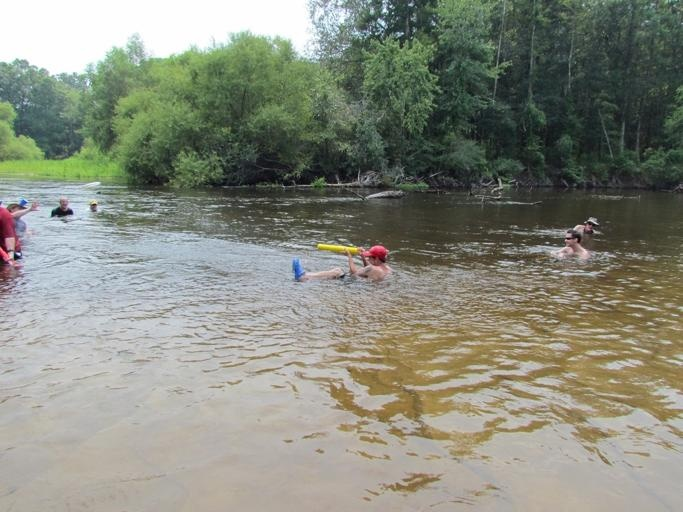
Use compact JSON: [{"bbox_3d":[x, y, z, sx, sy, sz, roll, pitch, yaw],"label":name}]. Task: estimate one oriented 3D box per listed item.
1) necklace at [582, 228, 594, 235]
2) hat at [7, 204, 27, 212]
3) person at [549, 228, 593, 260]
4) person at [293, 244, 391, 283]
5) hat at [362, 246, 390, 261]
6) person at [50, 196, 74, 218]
[{"bbox_3d":[8.778,-0.877,21.350,0.337,0.148,0.428,6,6,16],"label":"necklace"},{"bbox_3d":[-9.946,-1.470,18.211,0.445,0.186,0.295,-3,17,-21],"label":"hat"},{"bbox_3d":[6.544,-0.324,17.009,1.045,0.775,0.776,1,10,18],"label":"person"},{"bbox_3d":[0.012,0.288,14.928,2.421,0.896,0.938,4,1,23],"label":"person"},{"bbox_3d":[0.812,-0.063,14.618,0.620,0.277,0.358,3,11,18],"label":"hat"},{"bbox_3d":[-10.618,-1.834,22.620,0.764,0.710,0.923,-5,10,-22],"label":"person"}]
